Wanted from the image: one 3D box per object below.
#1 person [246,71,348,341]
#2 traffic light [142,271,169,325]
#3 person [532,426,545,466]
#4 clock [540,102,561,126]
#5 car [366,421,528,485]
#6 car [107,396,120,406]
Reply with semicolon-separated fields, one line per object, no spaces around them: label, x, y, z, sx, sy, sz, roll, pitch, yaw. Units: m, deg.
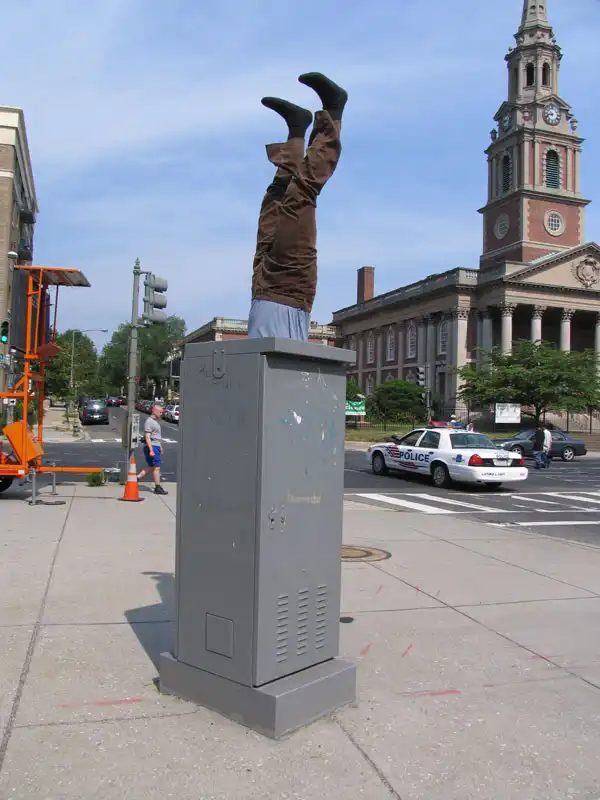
person;-0.038;-1.281;5.949;0.568;1.796;0.653;4;0;-1
traffic light;-2.655;-1.869;16.085;0.406;0.823;0.259;3;-3;-18
person;7.616;1.485;27.868;0.382;1.331;1.297;4;0;16
clock;18.326;-21.094;64.223;1.788;1.620;0.113;23;-14;-19
car;3.227;1.167;19.137;1.410;0.899;3.365;1;3;-25
car;-20.711;0.008;97.036;0.986;0.660;1.970;0;9;-11
